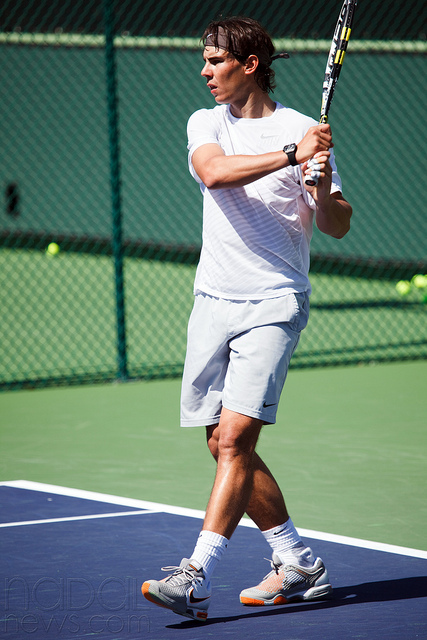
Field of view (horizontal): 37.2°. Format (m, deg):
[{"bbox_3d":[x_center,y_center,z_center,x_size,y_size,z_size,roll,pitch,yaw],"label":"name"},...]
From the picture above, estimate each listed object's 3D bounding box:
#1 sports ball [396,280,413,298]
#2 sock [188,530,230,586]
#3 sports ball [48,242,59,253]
[{"bbox_3d":[2.277,-0.373,7.580,0.257,0.216,0.239,0,1,0],"label":"sports ball"},{"bbox_3d":[-0.014,0.569,1.545,0.063,0.122,0.079,6,13,33],"label":"sock"},{"bbox_3d":[-2.204,-0.991,8.700,0.147,0.158,0.138,-10,21,4],"label":"sports ball"}]
